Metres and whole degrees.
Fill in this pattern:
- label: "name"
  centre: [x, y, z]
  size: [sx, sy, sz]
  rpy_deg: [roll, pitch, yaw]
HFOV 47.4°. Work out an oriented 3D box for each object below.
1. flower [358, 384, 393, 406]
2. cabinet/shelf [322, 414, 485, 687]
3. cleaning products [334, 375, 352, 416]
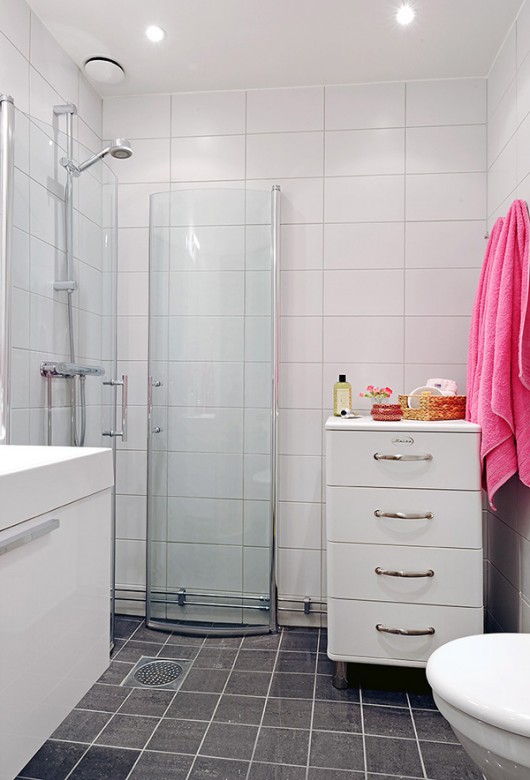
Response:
- label: "flower"
  centre: [0.419, 0.019, 2.243]
  size: [0.084, 0.072, 0.090]
  rpy_deg: [-5, -10, 40]
- label: "cabinet/shelf"
  centre: [0.478, 0.481, 2.122]
  size: [0.481, 0.974, 0.499]
  rpy_deg: [-1, 17, 11]
- label: "cleaning products"
  centre: [0.293, 0.021, 2.291]
  size: [0.069, 0.149, 0.264]
  rpy_deg: [1, 2, 7]
